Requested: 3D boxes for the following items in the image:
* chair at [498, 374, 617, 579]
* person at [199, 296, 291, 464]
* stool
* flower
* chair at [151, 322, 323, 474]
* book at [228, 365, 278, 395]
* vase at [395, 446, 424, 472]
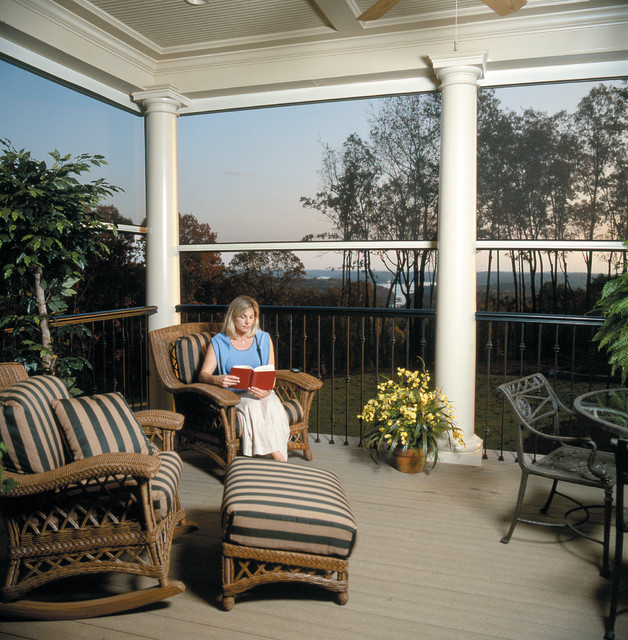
[{"bbox_3d":[1.329,0.738,2.881,0.778,0.784,0.752,0,5,0],"label":"chair"},{"bbox_3d":[-0.484,0.430,3.936,0.608,1.175,0.711,-1,5,-11],"label":"person"},{"bbox_3d":[-0.120,0.956,2.709,0.613,0.356,0.848,6,1,-8],"label":"stool"},{"bbox_3d":[0.663,0.717,4.122,0.793,0.743,0.652,2,5,20],"label":"flower"},{"bbox_3d":[-0.587,0.552,4.214,1.111,0.889,1.163,-2,7,-35],"label":"chair"},{"bbox_3d":[-0.417,0.406,3.832,0.297,0.184,0.164,0,4,-7],"label":"book"},{"bbox_3d":[0.677,0.988,4.028,0.191,0.125,0.180,0,-8,-2],"label":"vase"}]
